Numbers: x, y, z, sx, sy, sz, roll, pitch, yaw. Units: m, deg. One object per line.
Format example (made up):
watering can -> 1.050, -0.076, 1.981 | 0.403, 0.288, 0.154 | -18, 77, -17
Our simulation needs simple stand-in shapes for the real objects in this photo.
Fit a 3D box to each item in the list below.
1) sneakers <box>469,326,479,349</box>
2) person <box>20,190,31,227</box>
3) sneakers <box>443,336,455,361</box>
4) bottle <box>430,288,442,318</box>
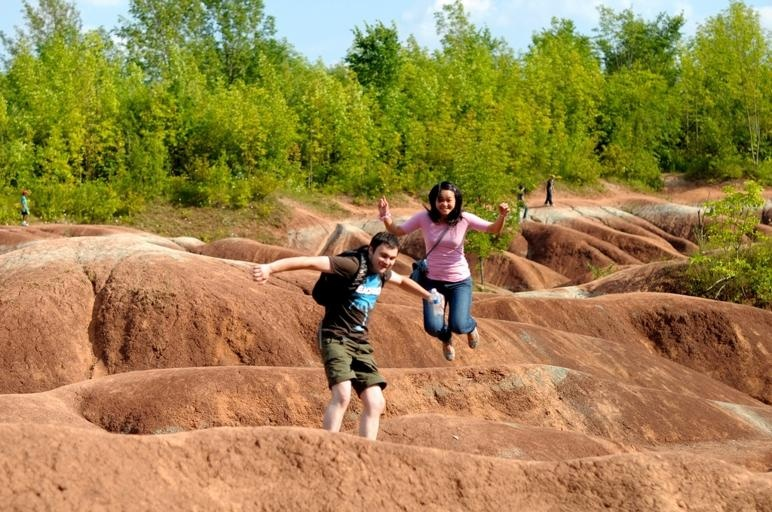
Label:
sneakers -> 1.462, 1.412, 14.252 | 0.184, 0.501, 0.174 | -6, 27, -8
person -> -13.787, -1.909, 32.350 | 0.341, 1.357, 2.719 | -4, 13, -23
sneakers -> 1.045, 1.578, 14.209 | 0.140, 0.205, 0.453 | -3, -18, 1
bottle -> 0.786, 0.764, 13.275 | 0.146, 0.506, 0.197 | -4, 22, 4
